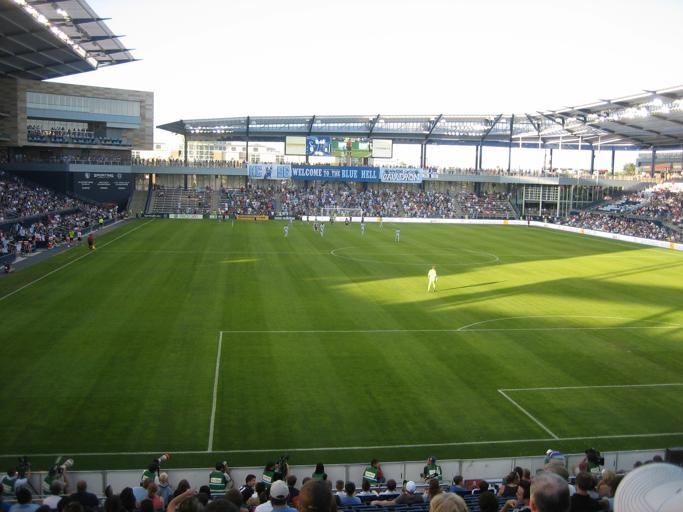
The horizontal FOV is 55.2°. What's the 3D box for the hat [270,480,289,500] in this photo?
[{"bbox_3d":[-0.984,3.577,10.189,0.235,0.159,0.313,2,21,-5],"label":"hat"}]
